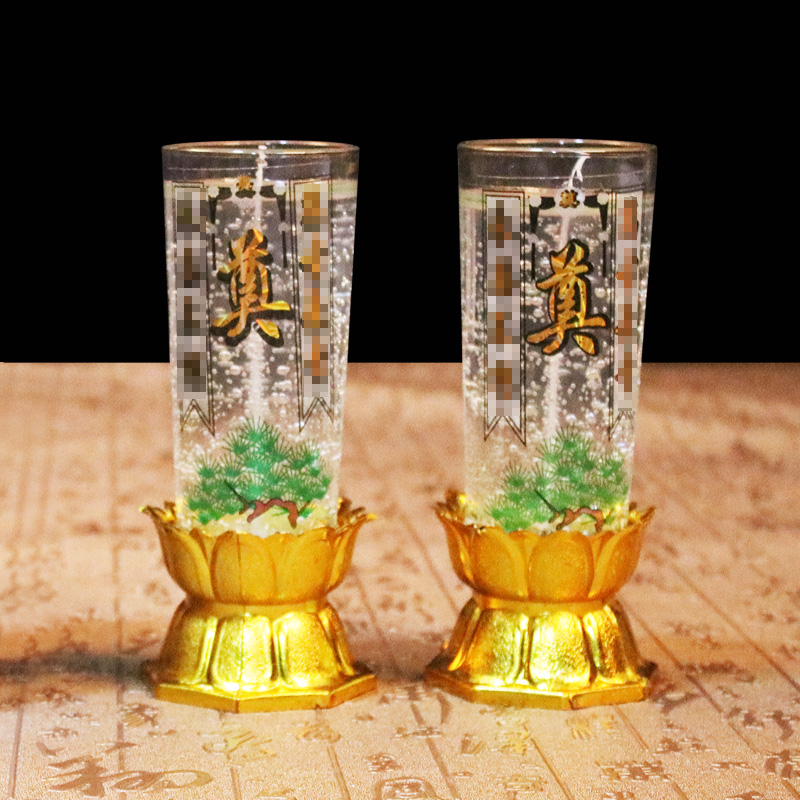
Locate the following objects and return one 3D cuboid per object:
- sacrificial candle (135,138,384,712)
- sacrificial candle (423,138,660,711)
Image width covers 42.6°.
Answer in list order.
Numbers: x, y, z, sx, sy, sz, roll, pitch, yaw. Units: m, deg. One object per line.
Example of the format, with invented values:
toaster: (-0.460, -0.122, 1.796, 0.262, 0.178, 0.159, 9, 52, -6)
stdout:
sacrificial candle: (-0.156, 0.022, 1.145, 0.256, 0.615, 0.189, -1, 10, -13)
sacrificial candle: (0.169, 0.022, 1.162, 0.253, 0.627, 0.185, 3, 10, 10)
